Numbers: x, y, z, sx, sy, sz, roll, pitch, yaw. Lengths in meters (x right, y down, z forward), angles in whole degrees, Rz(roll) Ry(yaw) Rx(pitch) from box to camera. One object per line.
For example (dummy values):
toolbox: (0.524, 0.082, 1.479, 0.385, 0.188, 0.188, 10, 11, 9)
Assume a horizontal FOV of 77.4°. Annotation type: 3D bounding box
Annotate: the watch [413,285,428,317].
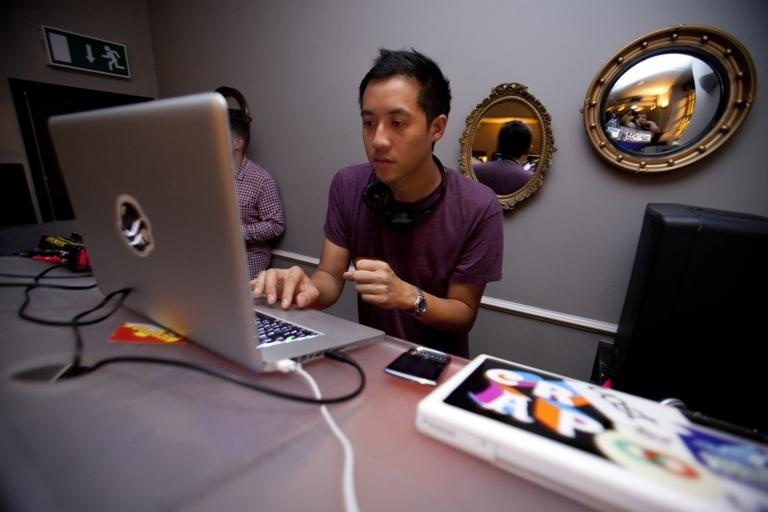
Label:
watch: (0.143, 0.192, 1.957, 0.062, 0.101, 0.097, 7, -15, -26)
